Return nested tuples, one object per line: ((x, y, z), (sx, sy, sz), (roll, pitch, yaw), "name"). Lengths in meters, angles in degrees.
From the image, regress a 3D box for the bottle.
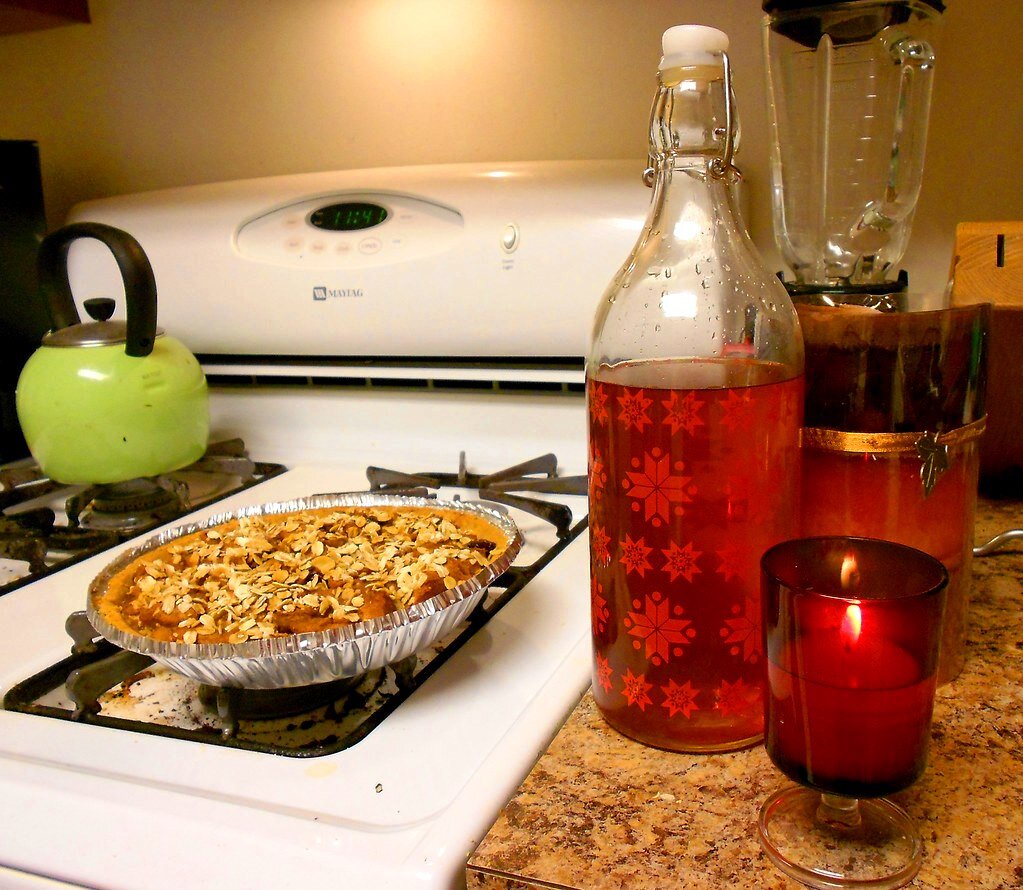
((0.093, -0.020, 0.450), (0.111, 0.365, 0.093), (2, 19, 17), "bottle")
